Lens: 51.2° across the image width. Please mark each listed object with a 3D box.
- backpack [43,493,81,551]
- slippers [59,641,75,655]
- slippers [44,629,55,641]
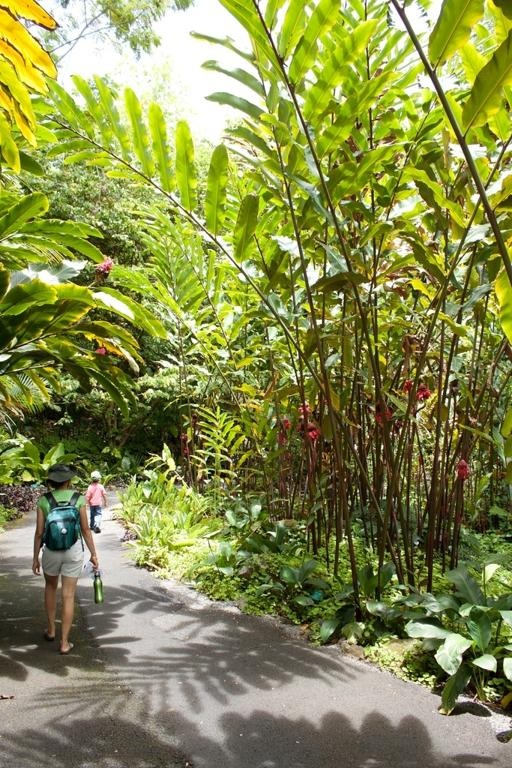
[{"bbox_3d":[-1.034,0.721,2.815,0.184,0.283,0.168,2,-5,-24],"label":"backpack"},{"bbox_3d":[-0.924,1.267,2.576,0.032,0.027,0.079,3,2,-1],"label":"slippers"},{"bbox_3d":[-1.055,1.269,2.714,0.034,0.054,0.058,5,13,-10],"label":"slippers"}]
